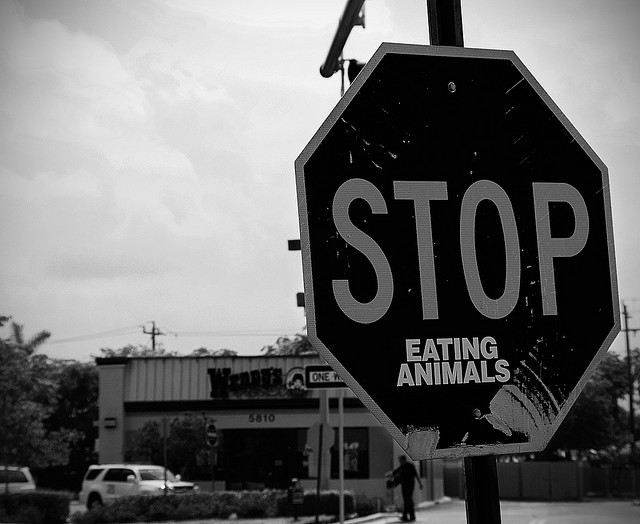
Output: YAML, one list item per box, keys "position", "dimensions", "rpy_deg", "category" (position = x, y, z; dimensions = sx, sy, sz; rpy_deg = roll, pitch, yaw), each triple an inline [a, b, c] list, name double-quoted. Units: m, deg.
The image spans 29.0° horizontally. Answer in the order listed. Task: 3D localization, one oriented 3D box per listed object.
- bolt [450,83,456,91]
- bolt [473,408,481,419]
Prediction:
- position: [0.804, -1.057, 7.440]
  dimensions: [0.033, 0.039, 0.006]
  rpy_deg: [1, -4, -18]
  category: "bolt"
- position: [0.920, 0.892, 7.246]
  dimensions: [0.042, 0.062, 0.020]
  rpy_deg: [-1, 0, 12]
  category: "bolt"
